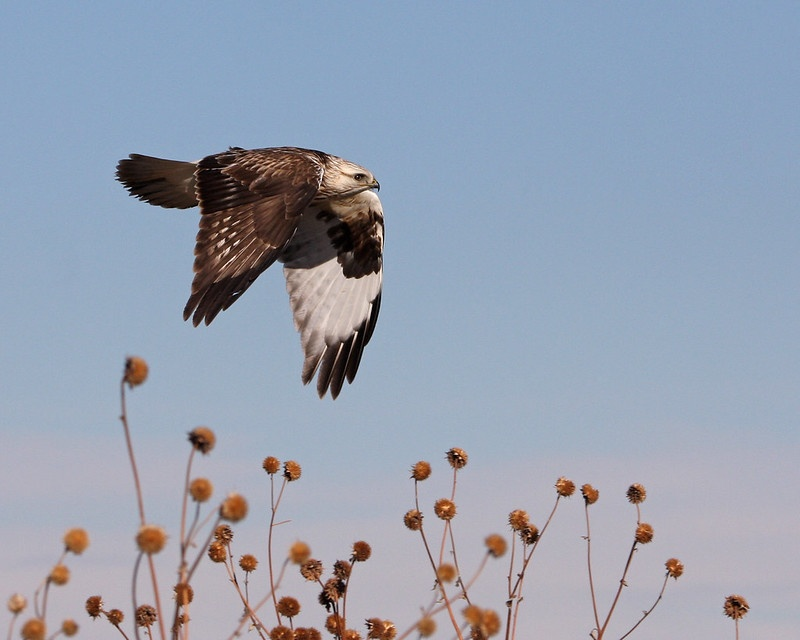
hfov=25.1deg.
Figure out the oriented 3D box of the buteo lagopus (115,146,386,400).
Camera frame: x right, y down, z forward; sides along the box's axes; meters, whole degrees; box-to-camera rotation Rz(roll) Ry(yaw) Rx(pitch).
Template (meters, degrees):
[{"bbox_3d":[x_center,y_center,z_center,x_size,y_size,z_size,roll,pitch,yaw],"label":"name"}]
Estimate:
[{"bbox_3d":[-1.018,-0.560,12.754,1.594,1.594,1.433,9,-13,5],"label":"buteo lagopus"}]
